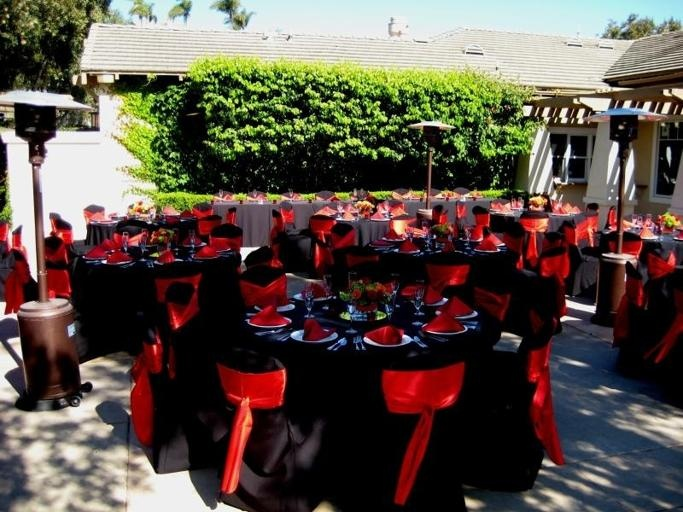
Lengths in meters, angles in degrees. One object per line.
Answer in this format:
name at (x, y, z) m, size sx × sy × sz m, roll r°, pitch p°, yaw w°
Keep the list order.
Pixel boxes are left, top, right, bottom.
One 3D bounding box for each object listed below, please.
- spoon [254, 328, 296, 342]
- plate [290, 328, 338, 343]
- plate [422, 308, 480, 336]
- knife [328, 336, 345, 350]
spoon at (-0.580, 0.667, 5.085) m, size 0.302 × 0.026 × 0.269 m, roll 2°, pitch 13°, yaw -10°
plate at (-0.236, 0.670, 5.038) m, size 0.401 × 0.052 × 0.253 m, roll 4°, pitch 13°, yaw -1°
plate at (0.906, 0.581, 5.187) m, size 0.434 × 0.150 × 0.218 m, roll 4°, pitch 12°, yaw 2°
knife at (-0.030, 0.717, 4.923) m, size 0.048 × 0.013 × 0.172 m, roll 12°, pitch 23°, yaw 17°
